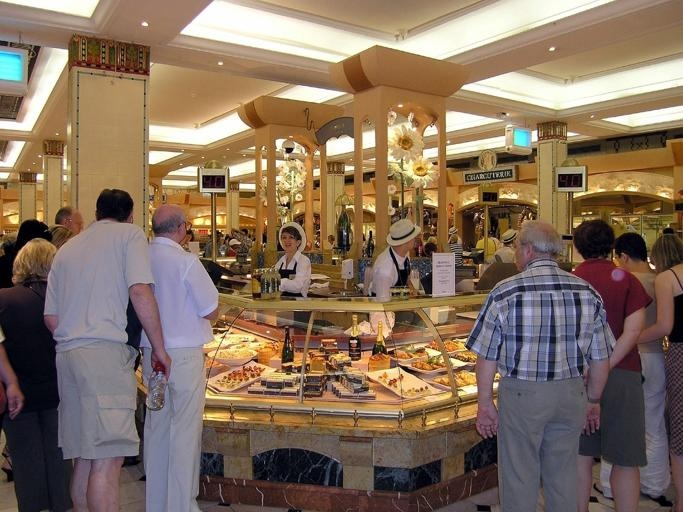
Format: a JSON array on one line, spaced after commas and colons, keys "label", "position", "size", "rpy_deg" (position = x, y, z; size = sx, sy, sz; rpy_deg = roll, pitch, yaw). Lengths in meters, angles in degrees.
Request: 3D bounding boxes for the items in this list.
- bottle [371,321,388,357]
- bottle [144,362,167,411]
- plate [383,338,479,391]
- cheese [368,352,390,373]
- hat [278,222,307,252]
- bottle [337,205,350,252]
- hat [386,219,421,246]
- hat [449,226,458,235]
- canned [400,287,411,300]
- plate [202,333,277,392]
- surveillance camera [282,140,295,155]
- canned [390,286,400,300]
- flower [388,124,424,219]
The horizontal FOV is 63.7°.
[{"label": "bottle", "position": [0.300, 0.650, 4.355], "size": [0.120, 0.465, 0.121], "rpy_deg": [-1, 24, 0]}, {"label": "bottle", "position": [-1.241, 0.866, 3.654], "size": [0.110, 0.333, 0.133], "rpy_deg": [-1, 4, -16]}, {"label": "plate", "position": [0.734, 0.875, 4.371], "size": [0.399, 0.093, 0.543], "rpy_deg": [-6, 12, -35]}, {"label": "cheese", "position": [0.281, 0.831, 4.414], "size": [0.198, 0.208, 0.108], "rpy_deg": [1, -7, -3]}, {"label": "hat", "position": [-0.509, -0.232, 6.180], "size": [0.275, 0.344, 0.085], "rpy_deg": [-6, 5, 25]}, {"label": "bottle", "position": [0.029, -0.348, 7.319], "size": [0.183, 0.444, 0.494], "rpy_deg": [0, 1, -1]}, {"label": "hat", "position": [0.585, -0.228, 5.196], "size": [0.272, 0.097, 0.243], "rpy_deg": [-35, 33, -10]}, {"label": "hat", "position": [3.150, -0.710, 15.467], "size": [0.353, 0.144, 0.429], "rpy_deg": [-17, 6, 14]}, {"label": "canned", "position": [0.471, 0.284, 4.121], "size": [0.076, 0.075, 0.074], "rpy_deg": [-7, 10, -43]}, {"label": "plate", "position": [-0.828, 0.821, 4.436], "size": [0.455, 0.082, 0.489], "rpy_deg": [0, 16, 36]}, {"label": "surveillance camera", "position": [-0.911, -1.905, 9.631], "size": [0.267, 0.285, 0.273], "rpy_deg": [-5, 11, -13]}, {"label": "canned", "position": [0.396, 0.281, 4.114], "size": [0.066, 0.070, 0.069], "rpy_deg": [2, 7, 13]}, {"label": "flower", "position": [0.779, -0.984, 6.389], "size": [0.480, 1.207, 0.669], "rpy_deg": [0, 0, 4]}]
